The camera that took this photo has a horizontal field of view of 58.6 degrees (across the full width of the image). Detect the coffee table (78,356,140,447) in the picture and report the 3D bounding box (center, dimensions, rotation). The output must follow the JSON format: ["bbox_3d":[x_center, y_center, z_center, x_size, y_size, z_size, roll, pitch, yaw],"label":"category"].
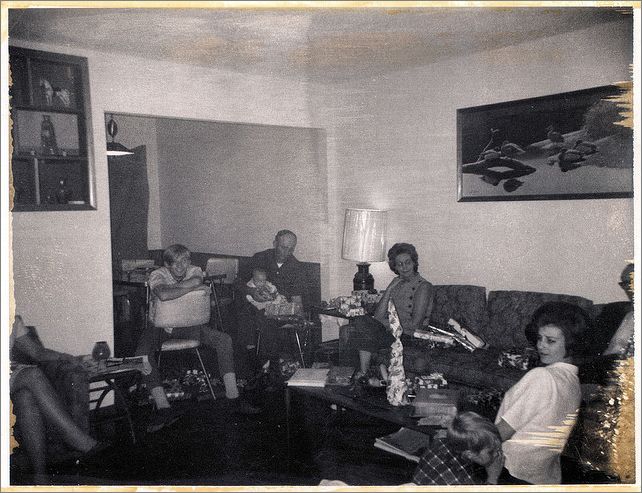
[{"bbox_3d":[-0.934,0.599,2.589,0.345,0.420,0.467,0,1,-22],"label":"coffee table"}]

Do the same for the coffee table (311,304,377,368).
[{"bbox_3d":[0.193,0.488,3.170,0.357,0.313,0.350,5,-5,-35],"label":"coffee table"}]

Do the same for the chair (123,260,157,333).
[{"bbox_3d":[-0.882,0.222,2.718,0.198,0.230,0.252,4,-18,-22],"label":"chair"}]

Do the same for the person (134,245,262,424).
[{"bbox_3d":[-0.725,0.397,3.026,0.683,0.930,0.845,-2,10,-31],"label":"person"}]

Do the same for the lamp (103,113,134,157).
[{"bbox_3d":[-0.997,-0.523,2.718,0.178,0.176,0.181,3,8,21],"label":"lamp"}]

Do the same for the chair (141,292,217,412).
[{"bbox_3d":[-0.708,0.475,2.906,0.293,0.413,0.291,1,-5,-23],"label":"chair"}]

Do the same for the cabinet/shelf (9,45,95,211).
[{"bbox_3d":[-1.171,-0.486,2.465,0.376,0.695,0.133,-7,14,-18],"label":"cabinet/shelf"}]

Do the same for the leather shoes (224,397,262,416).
[{"bbox_3d":[-0.406,0.815,2.914,0.209,0.080,0.068,0,6,-11],"label":"leather shoes"}]

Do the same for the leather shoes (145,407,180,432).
[{"bbox_3d":[-0.745,0.812,2.674,0.170,0.067,0.060,-18,-17,-20],"label":"leather shoes"}]
